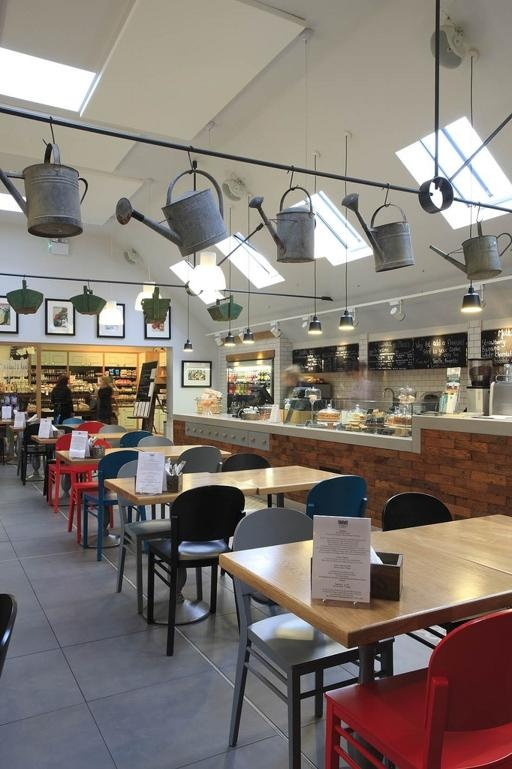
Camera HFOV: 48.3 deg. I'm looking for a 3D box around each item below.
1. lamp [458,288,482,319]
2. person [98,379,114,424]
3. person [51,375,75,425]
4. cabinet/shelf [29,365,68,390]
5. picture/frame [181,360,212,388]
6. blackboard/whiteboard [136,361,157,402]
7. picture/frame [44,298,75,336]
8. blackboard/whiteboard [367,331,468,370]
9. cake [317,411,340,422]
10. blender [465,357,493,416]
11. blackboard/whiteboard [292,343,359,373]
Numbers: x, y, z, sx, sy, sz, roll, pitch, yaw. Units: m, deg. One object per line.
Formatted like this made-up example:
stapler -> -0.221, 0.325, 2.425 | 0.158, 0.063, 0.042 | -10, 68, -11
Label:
lamp -> 1.736, -0.695, 4.539 | 0.127, 0.236, 0.437 | -1, -1, 21
person -> -3.256, 0.343, 12.219 | 0.295, 0.999, 0.529 | 0, -1, -19
person -> -3.860, 0.291, 11.257 | 0.347, 0.887, 1.009 | 0, -1, -21
cabinet/shelf -> -4.797, -0.158, 12.974 | 0.552, 0.544, 0.192 | 2, -5, -39
picture/frame -> -1.474, -0.262, 13.722 | 0.611, 0.558, 0.058 | 3, -1, -39
blackboard/whiteboard -> -2.633, -0.064, 13.743 | 0.120, 1.260, 0.655 | 22, -31, -32
picture/frame -> -4.214, -1.446, 12.056 | 0.821, 1.154, 0.049 | -1, 0, -39
blackboard/whiteboard -> 2.338, -0.448, 8.142 | 0.037, 0.486, 1.807 | 0, -1, -27
cake -> 0.817, 0.352, 6.397 | 0.264, 0.137, 0.199 | -1, -1, 19
blender -> 1.953, 0.012, 4.919 | 0.208, 0.479, 0.623 | -1, -1, 22
blackboard/whiteboard -> 1.250, -0.458, 10.260 | 0.170, 0.512, 2.036 | 0, -1, -24
